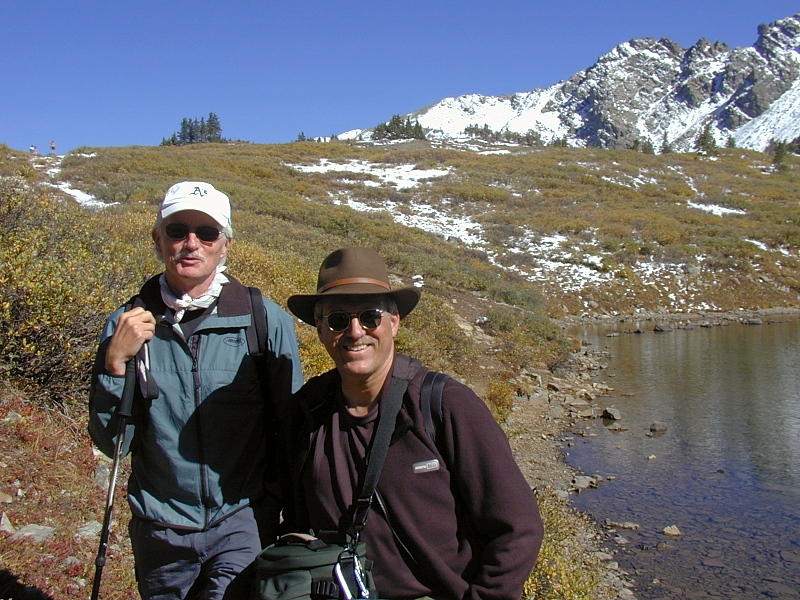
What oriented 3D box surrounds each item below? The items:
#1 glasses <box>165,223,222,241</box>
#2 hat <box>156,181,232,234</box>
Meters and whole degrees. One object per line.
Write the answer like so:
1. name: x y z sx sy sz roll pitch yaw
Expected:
1. glasses: -1.468 -0.481 4.333 0.184 0.057 0.186 3 -18 -13
2. hat: -1.473 -0.716 4.624 0.536 0.377 0.843 1 -8 -10
